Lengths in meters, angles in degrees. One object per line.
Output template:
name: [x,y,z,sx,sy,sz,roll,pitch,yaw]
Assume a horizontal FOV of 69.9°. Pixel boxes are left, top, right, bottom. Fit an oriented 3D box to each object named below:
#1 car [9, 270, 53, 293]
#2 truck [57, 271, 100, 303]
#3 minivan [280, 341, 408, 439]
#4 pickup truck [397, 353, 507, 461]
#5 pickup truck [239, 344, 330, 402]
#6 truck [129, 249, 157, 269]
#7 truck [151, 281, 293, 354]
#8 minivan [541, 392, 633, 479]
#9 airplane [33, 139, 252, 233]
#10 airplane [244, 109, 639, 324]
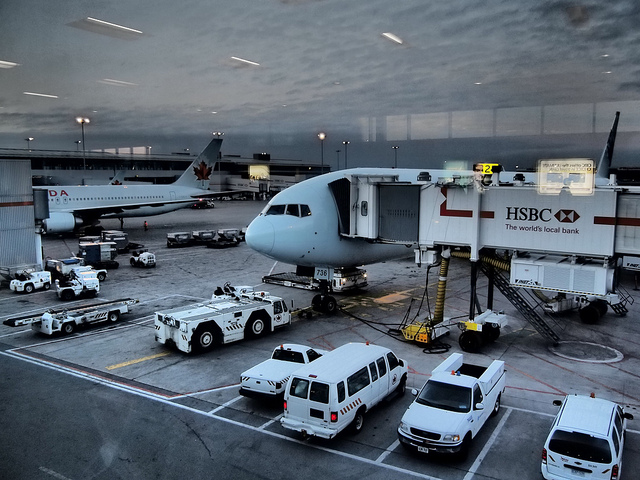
car: [-22.073,3.182,35.186,2.534,1.428,1.515,2,-1,-45]
truck: [-17.708,3.338,33.181,1.751,1.769,2.923,-2,2,31]
minivan: [1.267,5.728,18.481,2.758,2.250,6.446,1,6,33]
pickup truck: [4.843,6.122,16.754,2.102,1.995,4.621,8,13,38]
pickup truck: [-1.139,5.611,20.222,2.186,1.739,4.970,-1,3,31]
truck: [-16.722,1.820,44.049,2.713,1.544,1.500,2,4,41]
truck: [-5.393,4.203,24.866,5.327,2.090,4.027,-7,8,-43]
minivan: [8.687,6.604,14.953,1.864,1.455,3.117,3,25,30]
airplane: [-25.714,-5.503,62.825,15.396,6.682,19.154,11,14,43]
airplane: [5.546,-1.219,25.401,18.708,8.746,14.432,0,6,4]
